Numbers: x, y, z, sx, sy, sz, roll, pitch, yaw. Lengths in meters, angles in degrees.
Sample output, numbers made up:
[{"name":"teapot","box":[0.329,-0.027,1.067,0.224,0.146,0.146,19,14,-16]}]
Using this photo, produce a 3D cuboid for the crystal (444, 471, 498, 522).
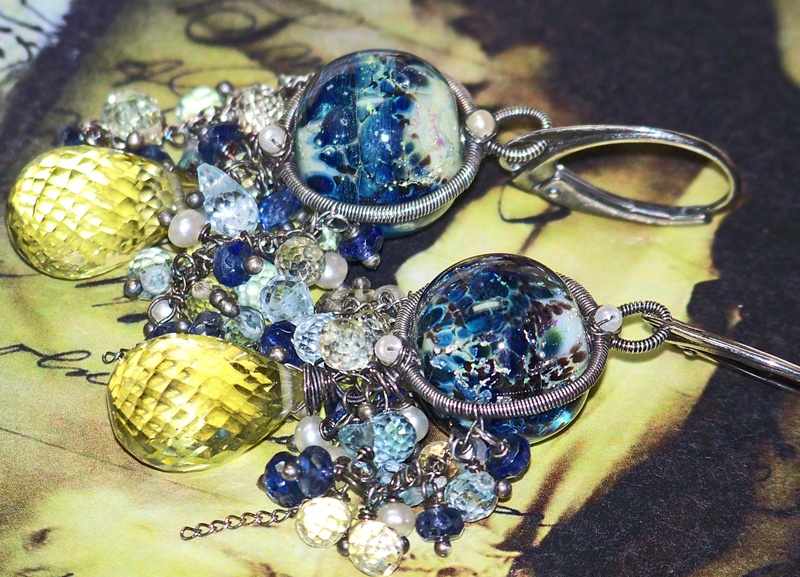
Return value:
[{"name":"crystal","box":[0.184,0.521,2.337,0.115,0.077,0.129,9,100,4]}]

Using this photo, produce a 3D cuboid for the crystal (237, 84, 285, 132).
[{"name":"crystal","box":[-0.420,-0.534,2.708,0.146,0.089,0.145,-2,76,-2]}]

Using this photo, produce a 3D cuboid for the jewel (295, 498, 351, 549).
[{"name":"jewel","box":[-0.193,0.587,2.294,0.136,0.085,0.125,-20,80,-3]}]

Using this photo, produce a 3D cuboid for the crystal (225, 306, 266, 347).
[{"name":"crystal","box":[-0.429,0.106,2.535,0.110,0.067,0.109,34,87,-7]}]

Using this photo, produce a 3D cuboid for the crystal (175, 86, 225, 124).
[{"name":"crystal","box":[-0.620,-0.568,2.834,0.137,0.103,0.074,-30,58,5]}]

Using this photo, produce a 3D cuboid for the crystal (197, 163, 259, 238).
[{"name":"crystal","box":[-0.479,-0.237,2.556,0.144,0.106,0.206,-36,91,1]}]

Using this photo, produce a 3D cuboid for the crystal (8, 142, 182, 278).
[{"name":"crystal","box":[-0.832,-0.212,2.604,0.530,0.277,0.286,-5,66,-15]}]

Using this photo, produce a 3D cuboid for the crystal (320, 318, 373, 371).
[{"name":"crystal","box":[-0.140,0.146,2.348,0.131,0.065,0.140,-25,80,-4]}]

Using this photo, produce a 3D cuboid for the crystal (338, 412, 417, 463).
[{"name":"crystal","box":[-0.054,0.385,2.361,0.176,0.088,0.109,-13,95,22]}]

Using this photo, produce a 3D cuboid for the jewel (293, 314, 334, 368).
[{"name":"jewel","box":[-0.237,0.141,2.356,0.101,0.130,0.103,-8,91,22]}]

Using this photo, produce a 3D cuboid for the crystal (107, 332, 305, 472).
[{"name":"crystal","box":[-0.505,0.295,2.393,0.499,0.246,0.349,-6,79,-1]}]

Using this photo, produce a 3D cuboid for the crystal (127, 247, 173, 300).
[{"name":"crystal","box":[-0.698,-0.038,2.544,0.129,0.077,0.130,6,83,2]}]
